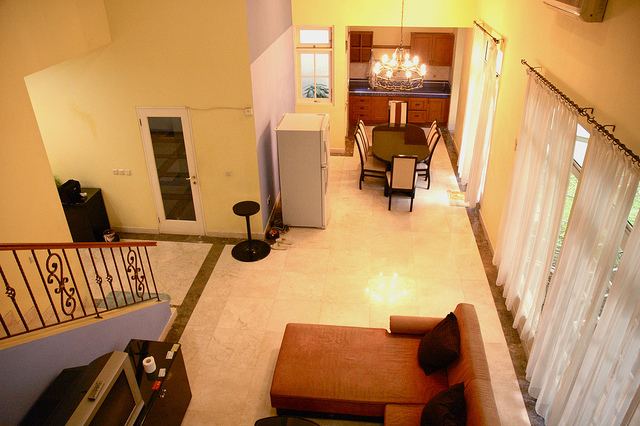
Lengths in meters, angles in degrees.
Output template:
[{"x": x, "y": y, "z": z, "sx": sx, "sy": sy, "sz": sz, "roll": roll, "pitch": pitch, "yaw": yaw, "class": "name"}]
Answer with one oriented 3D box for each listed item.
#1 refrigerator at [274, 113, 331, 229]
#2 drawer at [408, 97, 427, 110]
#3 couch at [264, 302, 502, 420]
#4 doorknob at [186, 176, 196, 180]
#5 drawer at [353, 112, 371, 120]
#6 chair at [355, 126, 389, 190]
[{"x": -0.334, "y": -0.826, "z": 8.763, "sx": 1.331, "sy": 2.382, "sz": 1.258, "roll": 0, "pitch": 40, "yaw": 3, "class": "refrigerator"}, {"x": 3.042, "y": -3.368, "z": 13.464, "sx": 0.506, "sy": 0.492, "sz": 0.340, "roll": 1, "pitch": 46, "yaw": 6, "class": "drawer"}, {"x": 0.707, "y": 2.099, "z": 5.816, "sx": 2.320, "sy": 0.960, "sz": 1.811, "roll": 5, "pitch": 47, "yaw": 1, "class": "couch"}, {"x": -2.522, "y": -0.679, "z": 8.526, "sx": 0.194, "sy": 0.057, "sz": 0.058, "roll": -12, "pitch": 49, "yaw": 7, "class": "doorknob"}, {"x": 1.344, "y": -3.056, "z": 13.884, "sx": 0.412, "sy": 0.288, "sz": 0.226, "roll": 0, "pitch": 42, "yaw": 3, "class": "drawer"}, {"x": 1.354, "y": -1.330, "z": 10.585, "sx": 0.928, "sy": 1.420, "sz": 0.897, "roll": -2, "pitch": 21, "yaw": 4, "class": "chair"}]
